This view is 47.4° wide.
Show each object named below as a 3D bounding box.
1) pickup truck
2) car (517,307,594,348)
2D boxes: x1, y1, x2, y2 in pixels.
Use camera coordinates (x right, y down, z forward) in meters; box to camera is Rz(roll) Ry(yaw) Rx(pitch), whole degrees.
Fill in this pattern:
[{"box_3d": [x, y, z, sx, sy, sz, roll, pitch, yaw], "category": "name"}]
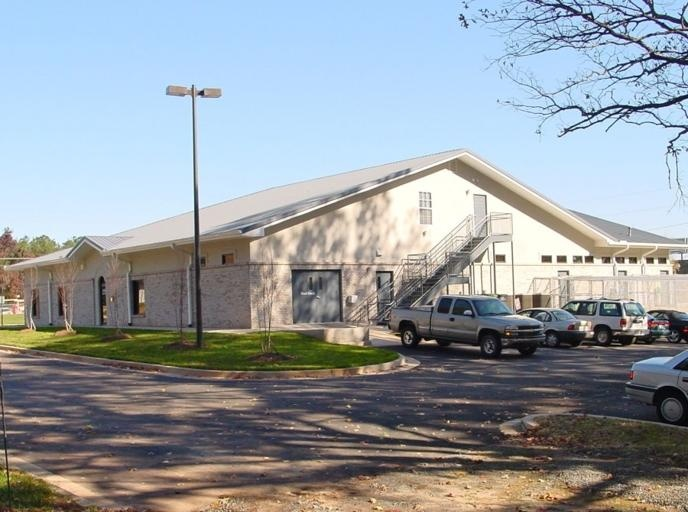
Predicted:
[{"box_3d": [4.159, 2.429, 27.551, 1.851, 2.050, 5.527, 6, -7, -39], "category": "pickup truck"}, {"box_3d": [8.007, 2.692, 29.936, 1.364, 0.873, 2.834, 0, 0, -41], "category": "car"}]
